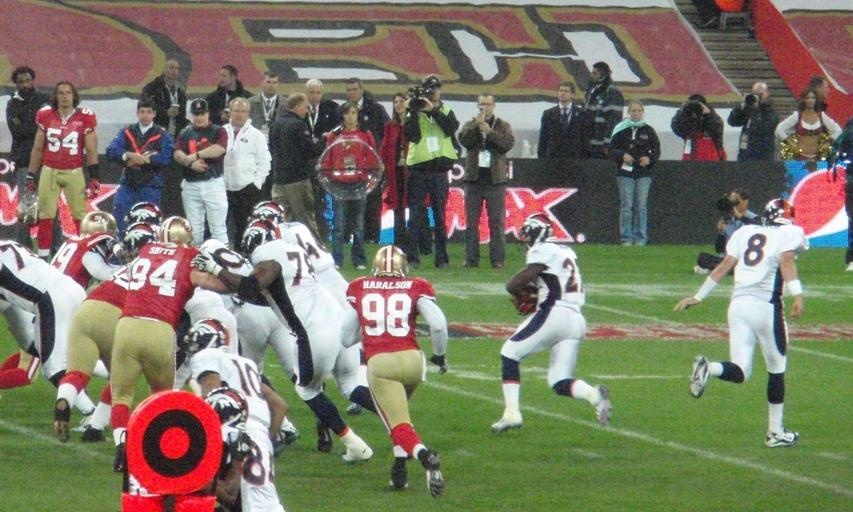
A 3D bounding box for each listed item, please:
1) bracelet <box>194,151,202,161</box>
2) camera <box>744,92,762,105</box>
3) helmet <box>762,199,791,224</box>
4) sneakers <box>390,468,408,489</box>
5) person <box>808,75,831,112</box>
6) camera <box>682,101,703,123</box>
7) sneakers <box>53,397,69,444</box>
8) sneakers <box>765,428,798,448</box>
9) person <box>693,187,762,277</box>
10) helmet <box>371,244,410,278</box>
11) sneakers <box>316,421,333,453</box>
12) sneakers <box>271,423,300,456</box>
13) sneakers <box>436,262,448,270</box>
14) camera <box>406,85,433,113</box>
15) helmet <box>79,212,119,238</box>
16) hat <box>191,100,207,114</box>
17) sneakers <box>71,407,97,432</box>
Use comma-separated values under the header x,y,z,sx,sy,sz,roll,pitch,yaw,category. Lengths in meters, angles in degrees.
x,y,z,sx,sy,sz,roll,pitch,yaw,category
-4.574,-2.022,34.598,0.133,0.139,0.061,0,-2,-9,bracelet
7.381,-3.544,38.720,0.446,0.220,0.481,0,3,14,camera
6.102,-0.756,29.551,0.490,0.435,0.382,4,4,-31,helmet
-0.423,3.616,27.826,0.292,0.385,0.209,-1,16,6,sneakers
8.760,-3.687,38.486,0.390,0.732,1.576,-1,-1,12,person
6.086,-3.299,39.223,0.380,0.171,0.380,5,-26,3,camera
-5.863,2.660,27.973,0.227,0.674,0.296,2,-13,-5,sneakers
5.947,3.056,28.823,0.579,0.284,0.226,-3,14,-2,sneakers
6.421,-0.524,36.065,1.274,1.773,1.150,3,-2,-12,person
-0.570,0.085,28.531,0.423,0.563,0.459,2,-14,1,helmet
-1.681,3.035,28.728,0.288,0.475,0.204,-10,12,-3,sneakers
-2.313,3.053,28.587,0.227,0.287,0.650,-10,-2,11,sneakers
0.363,0.209,36.485,0.132,0.148,0.164,0,-13,-4,sneakers
-0.128,-3.177,35.060,0.613,0.771,0.493,-1,0,-10,camera
-5.725,-0.548,30.101,0.553,0.453,0.411,-3,6,-5,helmet
-4.579,-3.040,34.889,0.262,0.228,0.374,-2,5,-7,hat
-5.714,2.765,28.896,0.245,0.455,0.134,31,5,20,sneakers
